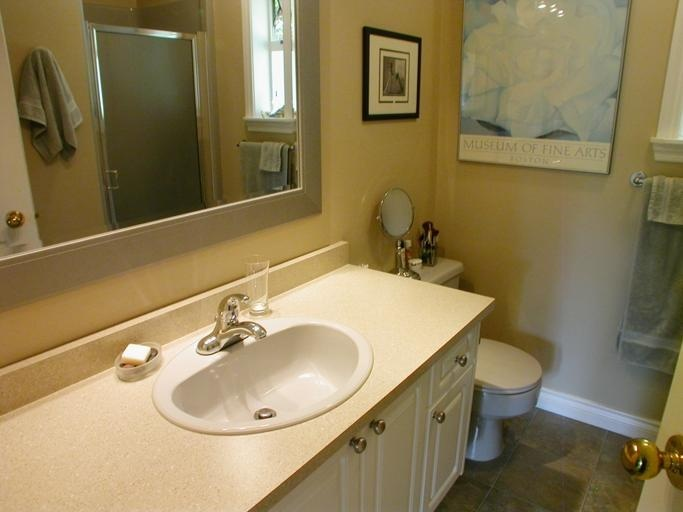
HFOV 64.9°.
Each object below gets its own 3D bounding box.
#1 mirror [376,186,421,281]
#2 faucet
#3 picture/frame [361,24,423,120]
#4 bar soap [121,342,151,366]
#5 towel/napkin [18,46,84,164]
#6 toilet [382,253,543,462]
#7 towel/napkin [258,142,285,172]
[{"bbox_3d":[0.256,-0.109,2.502,0.177,0.485,0.250,15,31,41],"label":"mirror"},{"bbox_3d":[-0.354,0.202,1.666,0.201,0.183,0.145,19,24,40],"label":"faucet"},{"bbox_3d":[0.236,-0.794,2.385,0.019,0.377,0.406,-13,26,-27],"label":"picture/frame"},{"bbox_3d":[-0.588,0.277,1.542,0.052,0.022,0.061,10,24,10],"label":"bar soap"},{"bbox_3d":[-0.765,-0.394,1.406,0.144,0.274,0.055,-15,25,-31],"label":"towel/napkin"},{"bbox_3d":[0.642,0.452,2.789,0.852,1.020,0.525,14,26,37],"label":"toilet"},{"bbox_3d":[-0.252,-0.352,1.920,0.072,0.108,0.036,3,4,6],"label":"towel/napkin"}]
